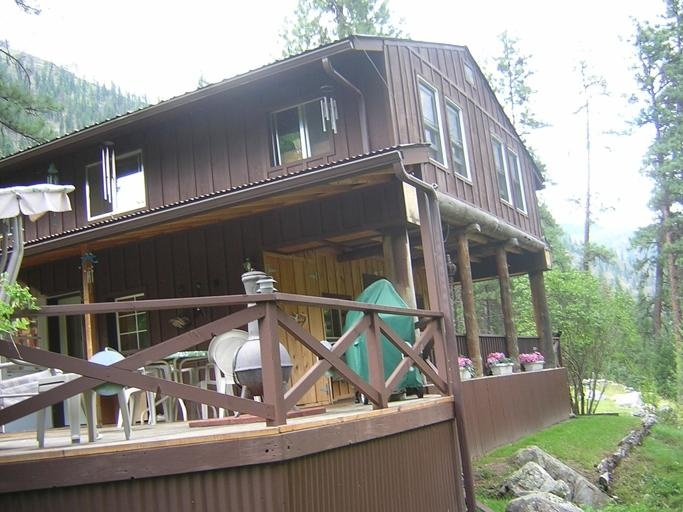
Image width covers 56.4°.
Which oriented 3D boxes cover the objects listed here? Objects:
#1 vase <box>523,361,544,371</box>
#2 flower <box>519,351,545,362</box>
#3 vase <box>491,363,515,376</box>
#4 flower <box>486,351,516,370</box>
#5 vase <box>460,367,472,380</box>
[{"bbox_3d":[4.839,2.752,15.910,0.542,0.230,0.421,-2,-9,-8],"label":"vase"},{"bbox_3d":[4.765,2.583,16.026,0.564,0.250,0.410,0,-9,-22],"label":"flower"},{"bbox_3d":[3.586,2.490,14.030,0.523,0.257,0.501,-3,-9,-4],"label":"vase"},{"bbox_3d":[3.441,2.326,14.295,0.468,0.312,0.470,5,-7,-33],"label":"flower"},{"bbox_3d":[2.390,2.261,12.213,0.179,0.220,0.819,-5,-9,13],"label":"vase"}]
